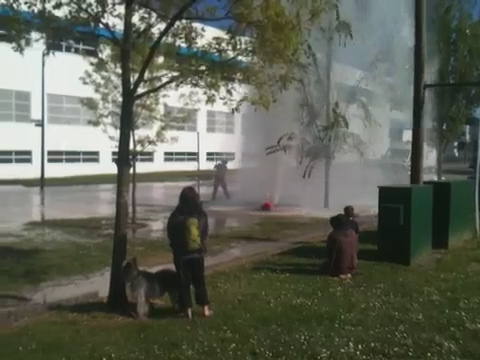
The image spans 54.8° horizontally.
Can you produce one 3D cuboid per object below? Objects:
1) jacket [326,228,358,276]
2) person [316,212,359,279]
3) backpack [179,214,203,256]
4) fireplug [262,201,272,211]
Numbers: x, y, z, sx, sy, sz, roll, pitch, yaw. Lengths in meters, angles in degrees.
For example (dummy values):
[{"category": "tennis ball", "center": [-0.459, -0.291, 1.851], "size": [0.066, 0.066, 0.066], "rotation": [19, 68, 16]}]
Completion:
[{"category": "jacket", "center": [2.194, 1.564, 9.964], "size": [0.817, 1.204, 0.634], "rotation": [0, 6, 7]}, {"category": "person", "center": [2.193, 1.394, 10.306], "size": [0.810, 1.491, 0.900], "rotation": [-3, -1, 5]}, {"category": "backpack", "center": [-0.773, 1.014, 8.319], "size": [0.332, 0.730, 0.477], "rotation": [-1, -24, -4]}, {"category": "fireplug", "center": [1.275, 1.232, 21.547], "size": [0.331, 0.391, 0.357], "rotation": [-1, 0, -6]}]
